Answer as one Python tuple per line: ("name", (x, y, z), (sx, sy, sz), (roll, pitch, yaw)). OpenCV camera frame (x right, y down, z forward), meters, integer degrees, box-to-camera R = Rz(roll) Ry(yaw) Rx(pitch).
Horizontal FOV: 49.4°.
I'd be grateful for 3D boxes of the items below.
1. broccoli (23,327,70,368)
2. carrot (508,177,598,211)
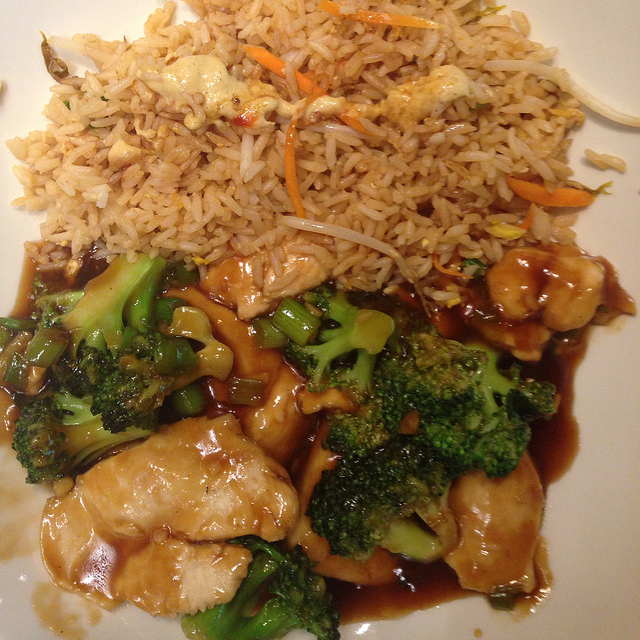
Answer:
("broccoli", (-1.208, 0.109, 3.115), (0.162, 0.199, 0.080), (38, 2, -12))
("carrot", (0.999, -0.549, 3.004), (0.390, 0.143, 0.077), (0, 44, -2))
